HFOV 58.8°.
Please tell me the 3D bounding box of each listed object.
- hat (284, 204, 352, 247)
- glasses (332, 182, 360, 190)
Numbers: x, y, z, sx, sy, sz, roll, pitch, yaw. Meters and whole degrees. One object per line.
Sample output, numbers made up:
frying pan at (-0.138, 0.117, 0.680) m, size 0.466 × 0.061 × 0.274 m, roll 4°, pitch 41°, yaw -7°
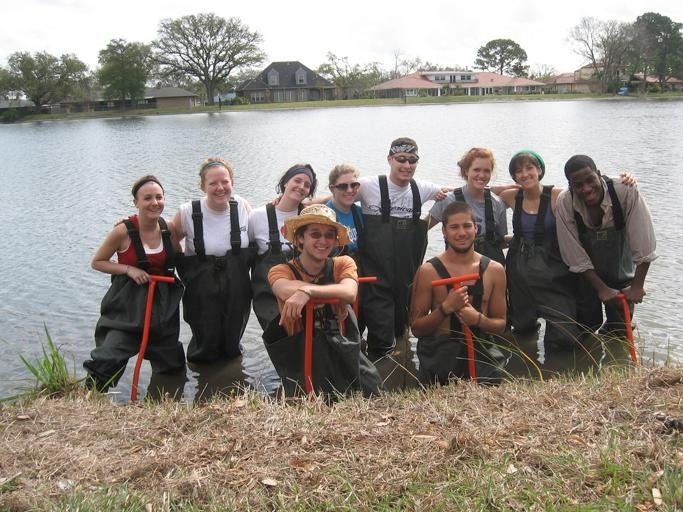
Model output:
hat at (-0.254, -0.284, 6.000) m, size 0.658 × 0.441 × 0.455 m, roll -3°, pitch 13°, yaw -4°
glasses at (0.037, -0.859, 7.495) m, size 0.332 × 0.121 × 0.152 m, roll -3°, pitch 12°, yaw -2°
